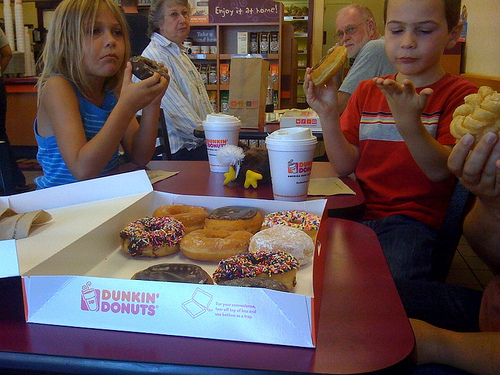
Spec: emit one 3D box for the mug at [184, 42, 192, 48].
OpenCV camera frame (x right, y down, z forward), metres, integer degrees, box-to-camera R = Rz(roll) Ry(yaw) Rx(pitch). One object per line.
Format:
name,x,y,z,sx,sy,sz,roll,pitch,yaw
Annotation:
mug,-0.894,-2.060,5.730,0.057,0.074,0.179,10,22,30

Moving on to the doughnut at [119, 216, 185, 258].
doughnut,-0.234,0.114,0.958,0.151,0.061,0.167,1,13,-16

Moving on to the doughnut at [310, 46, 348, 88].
doughnut,0.299,-0.428,1.412,0.051,0.139,0.139,44,38,-4

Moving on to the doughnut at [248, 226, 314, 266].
doughnut,0.078,0.118,0.886,0.094,0.035,0.097,7,15,31

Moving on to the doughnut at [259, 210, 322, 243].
doughnut,0.099,0.079,1.036,0.144,0.045,0.144,3,0,6

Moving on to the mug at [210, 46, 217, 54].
mug,-0.526,-1.979,5.699,0.094,0.101,0.133,-3,19,-5

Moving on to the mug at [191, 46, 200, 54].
mug,-0.794,-1.991,5.743,0.107,0.113,0.106,2,10,1

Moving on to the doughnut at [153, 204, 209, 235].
doughnut,-0.190,0.086,1.080,0.163,0.060,0.159,2,18,-1

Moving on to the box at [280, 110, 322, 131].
box,0.318,-0.412,2.507,0.251,0.102,0.549,1,19,6

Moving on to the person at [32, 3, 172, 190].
person,-0.637,-0.383,1.657,0.594,0.734,0.508,-5,20,-12

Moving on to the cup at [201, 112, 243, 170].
cup,-0.059,-0.170,1.495,0.207,0.246,0.204,0,4,0

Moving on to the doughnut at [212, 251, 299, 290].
doughnut,0.025,0.181,0.822,0.140,0.054,0.143,1,-3,-14

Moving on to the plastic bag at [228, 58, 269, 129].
plastic bag,-0.009,-0.624,2.730,0.246,0.411,0.248,3,14,9
